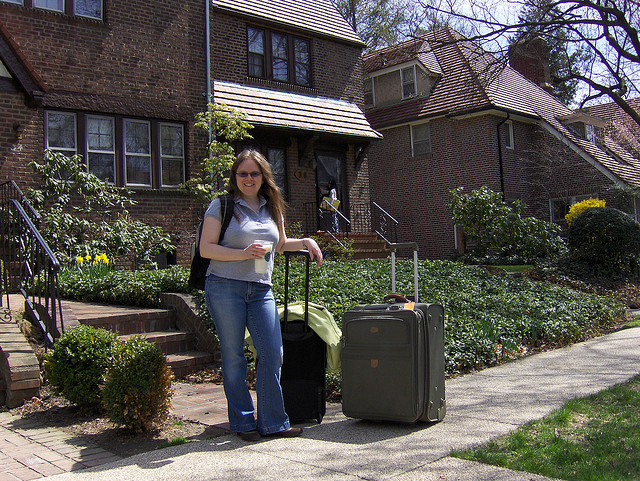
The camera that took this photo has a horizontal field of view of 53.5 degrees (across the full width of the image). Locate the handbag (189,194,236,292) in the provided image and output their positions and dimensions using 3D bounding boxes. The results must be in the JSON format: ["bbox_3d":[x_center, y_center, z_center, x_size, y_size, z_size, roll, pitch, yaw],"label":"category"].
[{"bbox_3d":[-1.139,0.018,6.757,0.521,1.022,0.349,-3,10,-7],"label":"handbag"}]

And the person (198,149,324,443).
[{"bbox_3d":[-0.734,0.584,6.827,1.061,3.066,0.991,-2,10,-2],"label":"person"}]

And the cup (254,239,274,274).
[{"bbox_3d":[-0.570,0.174,6.510,0.160,0.378,0.313,0,10,8],"label":"cup"}]
